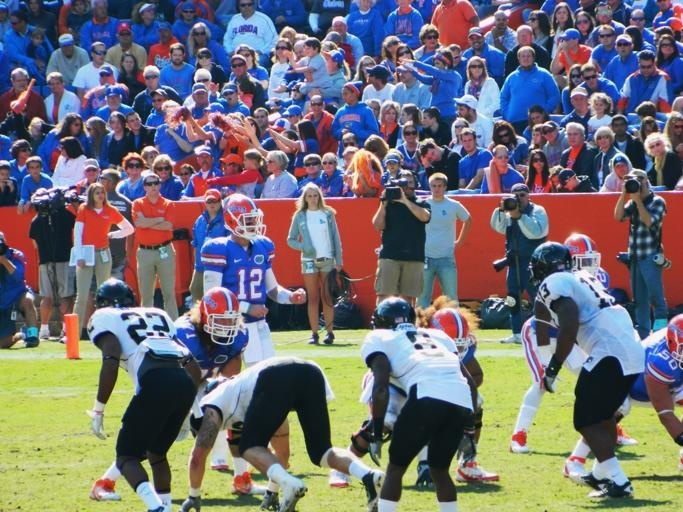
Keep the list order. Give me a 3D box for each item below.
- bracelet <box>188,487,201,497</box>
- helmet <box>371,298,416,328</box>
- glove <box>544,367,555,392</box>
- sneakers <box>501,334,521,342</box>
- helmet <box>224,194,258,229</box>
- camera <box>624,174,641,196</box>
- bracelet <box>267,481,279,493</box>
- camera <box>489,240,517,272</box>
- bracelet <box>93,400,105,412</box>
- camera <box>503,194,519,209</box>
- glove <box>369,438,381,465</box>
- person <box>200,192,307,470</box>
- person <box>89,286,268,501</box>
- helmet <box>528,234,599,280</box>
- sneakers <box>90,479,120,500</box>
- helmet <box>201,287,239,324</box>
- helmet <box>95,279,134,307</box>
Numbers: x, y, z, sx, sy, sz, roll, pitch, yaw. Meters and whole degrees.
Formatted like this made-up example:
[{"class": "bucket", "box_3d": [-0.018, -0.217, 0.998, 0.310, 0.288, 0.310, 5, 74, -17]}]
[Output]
[{"class": "bracelet", "box_3d": [-1.491, 2.398, 14.028, 0.097, 0.110, 0.105, -2, 7, -17]}, {"class": "helmet", "box_3d": [0.501, 0.584, 14.173, 0.270, 0.329, 0.364, 2, 10, -16]}, {"class": "glove", "box_3d": [2.203, 1.299, 14.536, 0.089, 0.293, 0.110, -7, 10, -24]}, {"class": "sneakers", "box_3d": [2.364, 1.157, 19.221, 0.290, 0.149, 0.109, 3, 0, 2]}, {"class": "helmet", "box_3d": [-1.194, -0.508, 16.024, 0.425, 0.455, 0.344, 9, 14, 16]}, {"class": "camera", "box_3d": [3.899, -0.962, 18.452, 0.223, 0.237, 0.358, 0, -4, 11]}, {"class": "bracelet", "box_3d": [-0.713, 2.369, 14.181, 0.103, 0.118, 0.102, -2, -1, 25]}, {"class": "camera", "box_3d": [2.215, 0.015, 19.104, 0.305, 0.354, 0.092, -3, 11, -24]}, {"class": "bracelet", "box_3d": [-2.520, 1.544, 14.272, 0.110, 0.145, 0.122, 3, -9, -20]}, {"class": "camera", "box_3d": [2.304, -0.734, 18.820, 0.225, 0.204, 0.179, 0, -4, 11]}, {"class": "glove", "box_3d": [0.346, 1.972, 13.924, 0.090, 0.293, 0.123, 1, 5, -8]}, {"class": "person", "box_3d": [-1.026, 0.819, 16.101, 0.847, 3.111, 1.021, 3, 10, 44]}, {"class": "person", "box_3d": [-1.663, 1.491, 14.394, 0.938, 1.826, 1.077, -33, -44, 23]}, {"class": "helmet", "box_3d": [2.418, 0.058, 15.048, 0.607, 0.543, 0.489, -22, 9, 13]}, {"class": "sneakers", "box_3d": [-2.483, 2.443, 14.436, 0.266, 0.226, 0.189, 0, 0, 5]}, {"class": "helmet", "box_3d": [-1.305, 0.542, 14.637, 0.382, 0.478, 0.539, 8, -5, -27]}, {"class": "helmet", "box_3d": [-2.387, 0.370, 14.463, 0.240, 0.345, 0.346, 0, 5, -17]}]
